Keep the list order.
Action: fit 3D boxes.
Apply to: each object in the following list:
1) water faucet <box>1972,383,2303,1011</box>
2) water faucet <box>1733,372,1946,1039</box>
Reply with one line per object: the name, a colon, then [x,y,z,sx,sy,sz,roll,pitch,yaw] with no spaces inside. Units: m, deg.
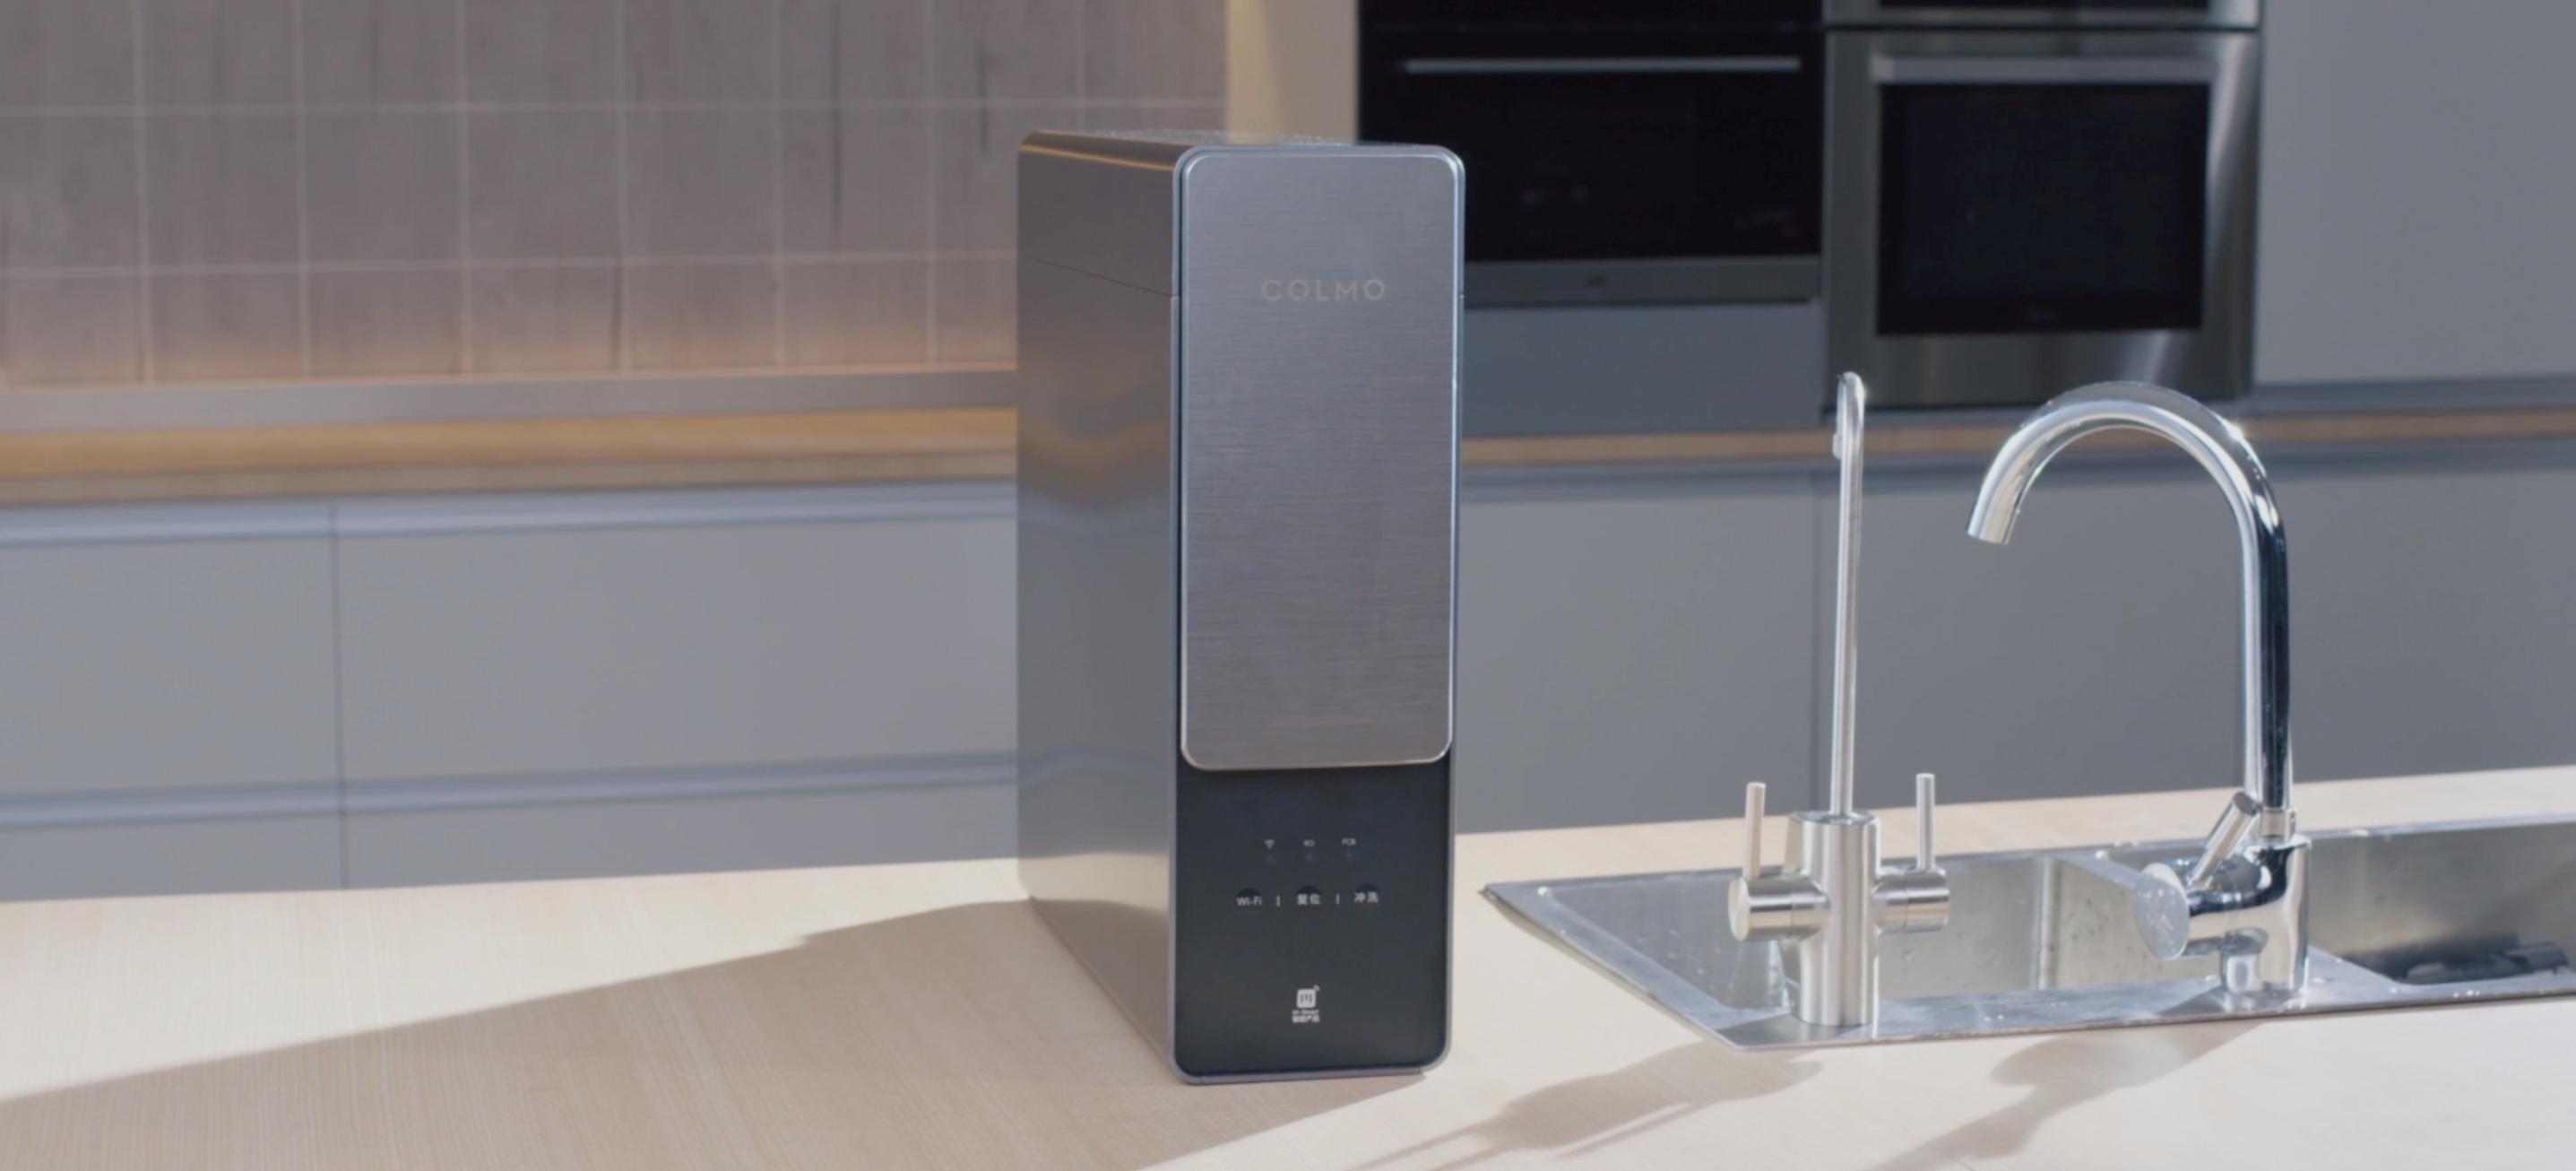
water faucet: [1.213,0.145,3.902,0.442,0.857,0.173,-2,1,11]
water faucet: [0.770,0.160,3.898,0.316,0.897,0.292,-2,1,11]
